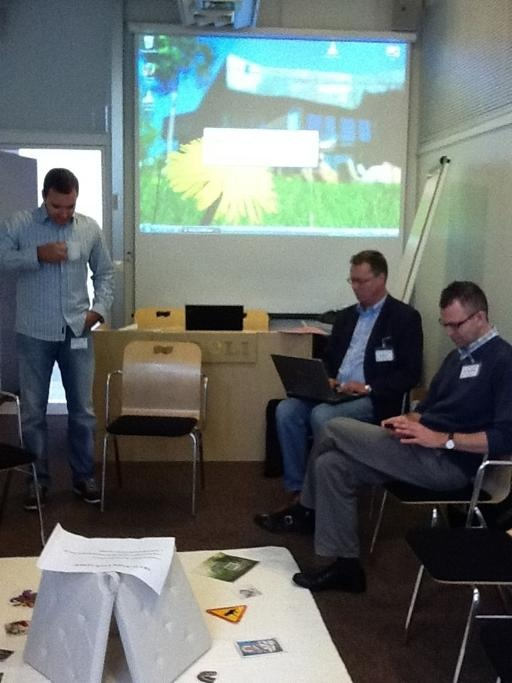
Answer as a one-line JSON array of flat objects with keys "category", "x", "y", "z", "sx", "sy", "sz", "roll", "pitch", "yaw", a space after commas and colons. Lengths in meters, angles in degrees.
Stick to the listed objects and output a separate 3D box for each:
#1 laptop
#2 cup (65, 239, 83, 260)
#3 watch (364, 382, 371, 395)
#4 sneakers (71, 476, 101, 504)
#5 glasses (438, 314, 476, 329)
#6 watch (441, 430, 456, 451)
[{"category": "laptop", "x": 0.287, "y": 0.134, "z": 2.855, "sx": 0.282, "sy": 0.194, "sz": 0.294, "roll": 0, "pitch": 7, "yaw": -36}, {"category": "cup", "x": -0.929, "y": -0.466, "z": 3.001, "sx": 0.079, "sy": 0.095, "sz": 0.034, "roll": 1, "pitch": -1, "yaw": -35}, {"category": "watch", "x": 0.543, "y": 0.234, "z": 2.900, "sx": 0.031, "sy": 0.043, "sz": 0.041, "roll": -4, "pitch": -16, "yaw": 30}, {"category": "sneakers", "x": -0.906, "y": 0.806, "z": 3.223, "sx": 0.081, "sy": 0.092, "sz": 0.224, "roll": 2, "pitch": 3, "yaw": -45}, {"category": "glasses", "x": 0.727, "y": -0.070, "z": 2.108, "sx": 0.068, "sy": 0.020, "sz": 0.068, "roll": -15, "pitch": 1, "yaw": -14}, {"category": "watch", "x": 0.660, "y": 0.342, "z": 2.019, "sx": 0.027, "sy": 0.052, "sz": 0.047, "roll": 0, "pitch": 5, "yaw": -24}]
